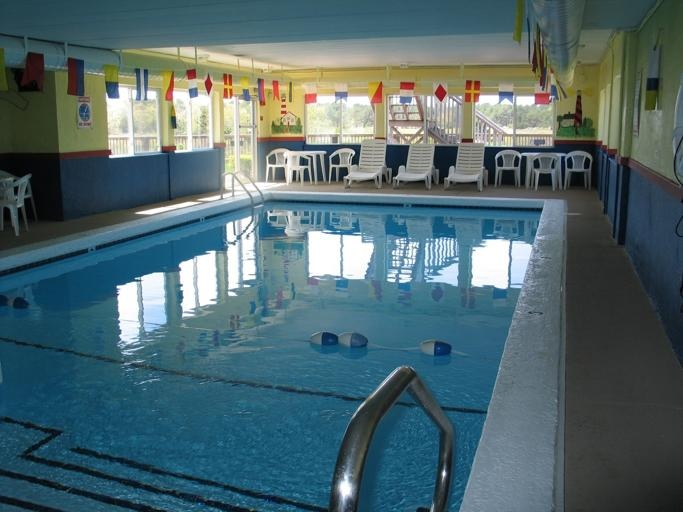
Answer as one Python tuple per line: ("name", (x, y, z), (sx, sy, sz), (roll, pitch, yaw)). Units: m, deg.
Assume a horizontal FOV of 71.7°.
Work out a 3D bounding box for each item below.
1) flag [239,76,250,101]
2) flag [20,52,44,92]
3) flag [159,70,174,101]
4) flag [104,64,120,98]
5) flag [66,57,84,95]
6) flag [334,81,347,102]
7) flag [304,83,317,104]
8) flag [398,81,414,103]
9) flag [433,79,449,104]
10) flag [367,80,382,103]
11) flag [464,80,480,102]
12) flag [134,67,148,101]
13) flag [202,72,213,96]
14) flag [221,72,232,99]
("flag", (-2.591, -4.420, 12.489), (0.197, 0.526, 0.719), (1, 11, -7))
("flag", (-4.892, -2.942, 7.436), (0.306, 0.510, 0.447), (-4, 13, -28))
("flag", (-3.498, -3.409, 9.438), (0.220, 0.566, 0.443), (-2, 12, -20))
("flag", (-4.212, -3.183, 8.588), (0.237, 0.549, 0.281), (-3, 12, -23))
("flag", (-4.520, -3.038, 7.987), (0.269, 0.592, 0.270), (-4, 12, -28))
("flag", (-0.060, -5.330, 15.174), (0.561, 0.739, 0.084), (6, 24, 17))
("flag", (-1.033, -5.305, 15.313), (0.442, 0.589, 0.317), (5, 11, 13))
("flag", (1.987, -5.095, 14.537), (0.669, 0.877, 0.044), (1, 4, -2))
("flag", (2.971, -4.987, 14.235), (0.406, 0.536, 0.485), (4, 11, 8))
("flag", (1.006, -4.921, 14.054), (0.373, 0.591, 0.287), (6, 12, 20))
("flag", (3.880, -4.937, 14.013), (0.624, 0.829, 0.063), (0, 17, 3))
("flag", (-3.894, -3.332, 9.140), (0.192, 0.557, 0.409), (4, 11, 12))
("flag", (-3.058, -3.923, 10.699), (0.167, 0.425, 0.562), (-1, 12, -16))
("flag", (-2.823, -4.185, 11.535), (0.177, 0.544, 0.441), (-1, 11, -14))
